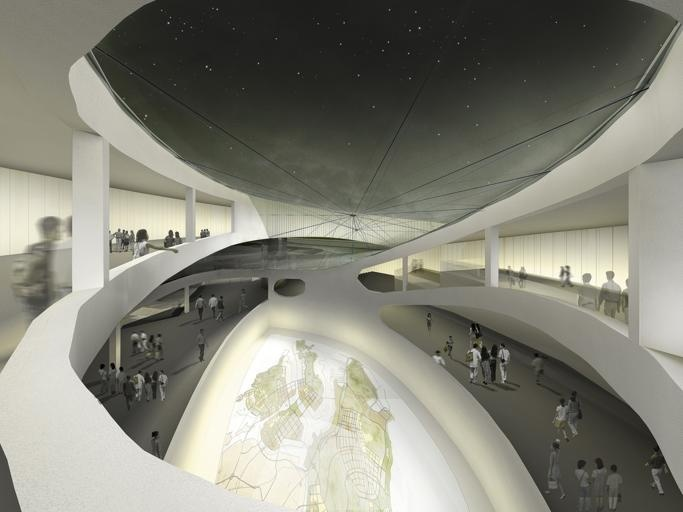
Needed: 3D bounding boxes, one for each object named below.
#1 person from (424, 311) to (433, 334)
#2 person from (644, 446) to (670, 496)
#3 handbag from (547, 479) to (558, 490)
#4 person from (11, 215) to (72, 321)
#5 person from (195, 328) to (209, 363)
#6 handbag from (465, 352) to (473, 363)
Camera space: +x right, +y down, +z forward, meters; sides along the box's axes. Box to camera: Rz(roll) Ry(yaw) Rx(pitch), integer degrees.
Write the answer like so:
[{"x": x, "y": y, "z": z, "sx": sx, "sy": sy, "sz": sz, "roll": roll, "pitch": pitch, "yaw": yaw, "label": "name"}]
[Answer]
[{"x": 3.519, "y": 2.624, "z": 16.038, "sx": 0.217, "sy": 0.782, "sz": 1.046, "roll": 2, "pitch": 11, "yaw": 13, "label": "person"}, {"x": 6.347, "y": 4.302, "z": 8.075, "sx": 0.282, "sy": 0.900, "sz": 0.348, "roll": -5, "pitch": 4, "yaw": -40, "label": "person"}, {"x": 4.506, "y": 4.913, "z": 8.564, "sx": 0.213, "sy": 0.236, "sz": 0.185, "roll": -4, "pitch": -8, "yaw": 24, "label": "handbag"}, {"x": -6.967, "y": 0.319, "z": 9.210, "sx": 0.810, "sy": 2.499, "sz": 0.810, "roll": 5, "pitch": -45, "yaw": -26, "label": "person"}, {"x": -4.834, "y": 3.019, "z": 13.808, "sx": 0.263, "sy": 0.957, "sz": 1.007, "roll": -4, "pitch": 11, "yaw": -20, "label": "person"}, {"x": 3.853, "y": 3.053, "z": 11.998, "sx": 0.194, "sy": 0.305, "sz": 0.114, "roll": -3, "pitch": -11, "yaw": 33, "label": "handbag"}]
